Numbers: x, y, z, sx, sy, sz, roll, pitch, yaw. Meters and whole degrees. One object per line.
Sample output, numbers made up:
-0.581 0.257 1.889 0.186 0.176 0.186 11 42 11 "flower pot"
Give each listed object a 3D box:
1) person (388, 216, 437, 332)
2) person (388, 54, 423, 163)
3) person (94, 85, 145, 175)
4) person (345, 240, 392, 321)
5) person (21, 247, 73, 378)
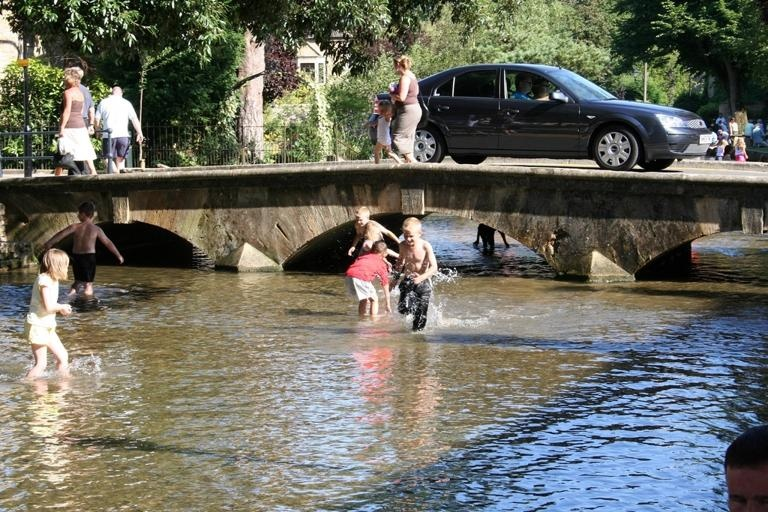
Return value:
0.476 0.276 16.593 0.515 1.658 0.754 -6 13 -12 "person"
0.435 -2.597 20.398 0.555 1.922 0.677 -3 13 1 "person"
-5.225 -2.461 22.525 0.863 1.724 1.191 -5 13 -9 "person"
-0.211 0.374 17.707 0.667 1.217 1.184 -3 12 0 "person"
-4.258 0.716 14.499 0.646 1.628 0.619 -6 13 -12 "person"
